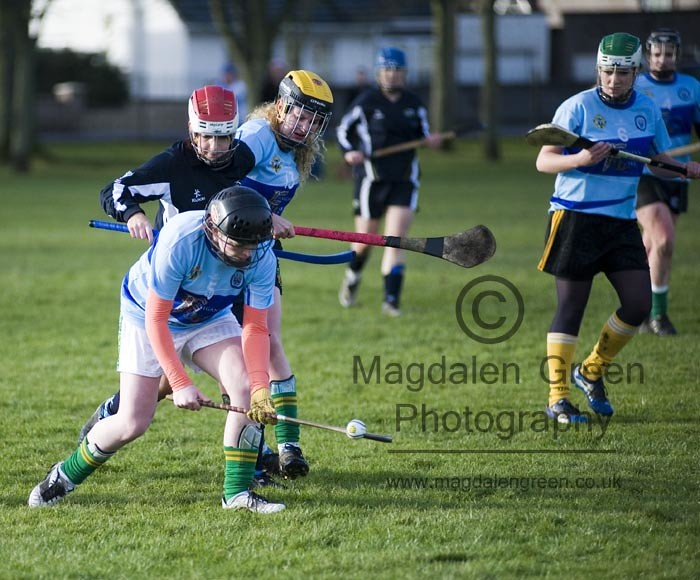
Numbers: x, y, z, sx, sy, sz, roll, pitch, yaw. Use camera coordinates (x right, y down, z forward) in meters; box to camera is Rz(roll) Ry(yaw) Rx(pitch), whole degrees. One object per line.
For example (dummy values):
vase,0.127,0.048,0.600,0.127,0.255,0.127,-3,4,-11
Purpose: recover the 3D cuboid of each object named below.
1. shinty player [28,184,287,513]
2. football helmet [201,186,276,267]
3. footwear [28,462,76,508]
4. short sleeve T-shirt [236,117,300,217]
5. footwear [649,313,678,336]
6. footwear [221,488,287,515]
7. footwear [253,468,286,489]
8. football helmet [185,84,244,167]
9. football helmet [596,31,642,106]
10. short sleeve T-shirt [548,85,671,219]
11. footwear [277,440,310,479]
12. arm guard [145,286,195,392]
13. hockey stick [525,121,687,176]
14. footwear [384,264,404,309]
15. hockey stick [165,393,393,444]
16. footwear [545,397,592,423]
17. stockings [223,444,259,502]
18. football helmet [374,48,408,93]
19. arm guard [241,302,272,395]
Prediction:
shinty player,-1.024,0.410,7.790,2.060,1.727,0.871,-8,-7,40
football helmet,-0.668,-0.369,7.347,0.358,0.388,0.423,-9,57,-17
footwear,-1.690,1.097,7.609,0.091,0.232,0.105,47,-14,-33
short sleeve T-shirt,-0.408,-0.720,8.222,0.522,0.501,0.267,-8,34,-30
footwear,2.416,0.262,10.366,0.114,0.103,0.226,-1,7,-26
footwear,-0.551,1.177,7.559,0.339,0.134,0.137,-1,3,2
footwear,-0.455,1.095,7.907,0.224,0.101,0.078,1,3,6
football helmet,-0.796,-0.953,7.808,0.305,0.433,0.432,-1,48,-4
football helmet,1.666,-1.380,8.353,0.279,0.407,0.421,3,32,15
short sleeve T-shirt,1.674,-0.901,8.618,1.050,0.967,0.508,2,2,-16
footwear,-0.334,0.968,7.816,0.101,0.136,0.278,-2,19,-13
arm guard,-1.004,0.252,7.354,0.190,0.537,0.278,-5,11,-30
hockey stick,1.653,-0.916,8.548,1.188,0.163,0.143,21,0,19
footwear,0.361,-0.053,11.345,0.156,0.357,0.267,1,10,2
hockey stick,-0.464,0.774,8.143,1.162,0.132,0.129,12,-22,18
footwear,1.387,0.745,8.570,0.234,0.108,0.130,5,10,36
stockings,-0.629,1.033,7.577,0.202,0.291,0.166,6,-7,-41
football helmet,0.356,-1.879,11.550,0.310,0.450,0.456,-2,8,16
arm guard,-0.529,0.305,7.482,0.126,0.521,0.136,5,-13,-28
